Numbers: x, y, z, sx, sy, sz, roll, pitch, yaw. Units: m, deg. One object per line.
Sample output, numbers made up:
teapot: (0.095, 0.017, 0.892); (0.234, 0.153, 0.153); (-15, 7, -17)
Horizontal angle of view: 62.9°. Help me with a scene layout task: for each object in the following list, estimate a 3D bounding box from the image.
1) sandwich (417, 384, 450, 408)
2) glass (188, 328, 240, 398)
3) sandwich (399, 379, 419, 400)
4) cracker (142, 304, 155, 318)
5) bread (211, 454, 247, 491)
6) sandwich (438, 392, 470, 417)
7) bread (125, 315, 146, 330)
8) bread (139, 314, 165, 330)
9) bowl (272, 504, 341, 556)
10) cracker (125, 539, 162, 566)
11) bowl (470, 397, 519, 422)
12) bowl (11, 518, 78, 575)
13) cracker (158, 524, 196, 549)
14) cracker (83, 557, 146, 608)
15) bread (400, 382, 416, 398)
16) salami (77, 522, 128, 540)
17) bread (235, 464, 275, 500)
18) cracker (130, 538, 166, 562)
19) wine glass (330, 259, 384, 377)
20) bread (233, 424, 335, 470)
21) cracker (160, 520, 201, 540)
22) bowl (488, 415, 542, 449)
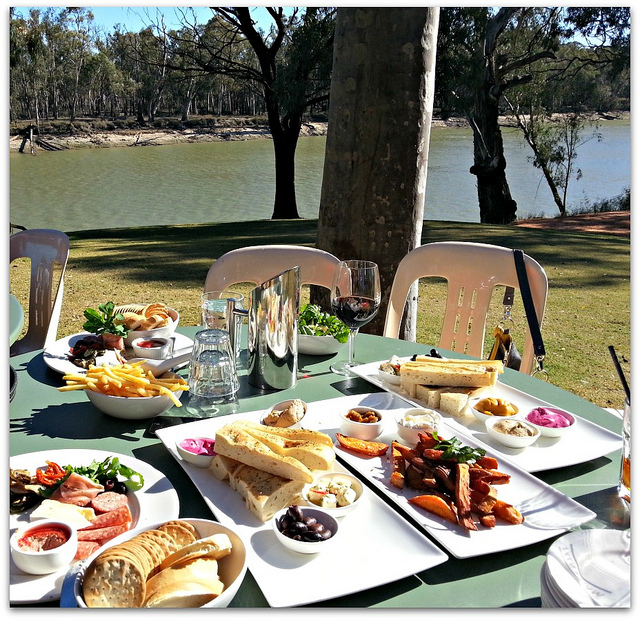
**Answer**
sandwich: (0.322, 0.231, 1.490); (0.067, 0.047, 0.068); (10, 14, 43)
glass: (-0.296, 0.140, 1.398); (0.126, 0.179, 0.122); (2, 8, 3)
sandwich: (0.261, 0.227, 1.534); (0.043, 0.051, 0.072); (-6, 4, -1)
cracker: (-0.614, 0.001, 1.854); (0.010, 0.041, 0.042); (10, 4, 6)
bread: (-0.204, 0.337, 1.109); (0.069, 0.069, 0.028); (21, 19, 19)
sandwich: (0.364, 0.252, 1.437); (0.063, 0.040, 0.064); (8, 22, 38)
bread: (-0.624, 0.043, 1.754); (0.045, 0.016, 0.045); (-22, -18, -23)
bread: (-0.573, 0.042, 1.761); (0.054, 0.015, 0.050); (-25, 13, 5)
bowl: (-0.026, 0.391, 0.929); (0.115, 0.048, 0.111); (3, 8, 0)
cracker: (-0.264, 0.365, 0.798); (0.031, 0.030, 0.007); (5, 1, -6)
bowl: (0.464, 0.263, 1.414); (0.079, 0.038, 0.078); (1, 6, 0)
bowl: (-0.452, 0.374, 0.860); (0.073, 0.035, 0.078); (4, 10, -1)
cracker: (-0.232, 0.360, 0.848); (0.034, 0.007, 0.034); (23, 19, 19)
cracker: (-0.283, 0.370, 0.717); (0.093, 0.040, 0.052); (1, 7, -1)
bread: (0.266, 0.234, 1.564); (0.039, 0.038, 0.039); (5, 11, 40)
salami: (-0.389, 0.394, 0.934); (0.084, 0.020, 0.031); (-2, 8, -27)
bread: (-0.142, 0.340, 1.065); (0.062, 0.021, 0.062); (-19, 30, -40)
cracker: (-0.265, 0.368, 0.803); (0.028, 0.007, 0.029); (45, -15, -25)
wine glass: (0.094, 0.022, 1.717); (0.179, 0.369, 0.183); (1, 15, -3)
bread: (-0.088, 0.285, 1.104); (0.223, 0.045, 0.038); (16, 9, -3)
cracker: (-0.226, 0.354, 0.864); (0.036, 0.008, 0.036); (17, 8, 7)
bowl: (0.480, 0.287, 1.310); (0.086, 0.041, 0.089); (0, 10, 0)
